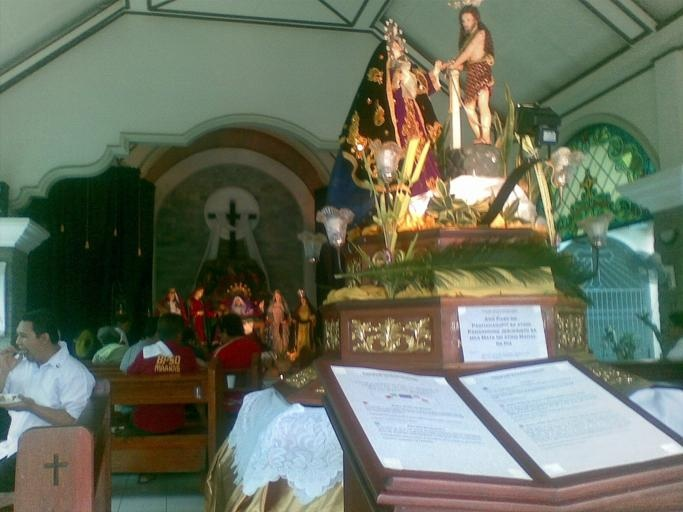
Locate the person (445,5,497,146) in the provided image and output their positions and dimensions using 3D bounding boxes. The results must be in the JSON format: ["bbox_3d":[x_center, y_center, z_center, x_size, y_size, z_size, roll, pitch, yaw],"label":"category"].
[{"bbox_3d":[0.673,-0.922,3.666,0.228,0.769,0.325,-5,-6,26],"label":"person"}]

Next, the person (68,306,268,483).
[{"bbox_3d":[-1.417,1.068,5.579,1.190,0.828,0.496,0,2,8],"label":"person"}]
